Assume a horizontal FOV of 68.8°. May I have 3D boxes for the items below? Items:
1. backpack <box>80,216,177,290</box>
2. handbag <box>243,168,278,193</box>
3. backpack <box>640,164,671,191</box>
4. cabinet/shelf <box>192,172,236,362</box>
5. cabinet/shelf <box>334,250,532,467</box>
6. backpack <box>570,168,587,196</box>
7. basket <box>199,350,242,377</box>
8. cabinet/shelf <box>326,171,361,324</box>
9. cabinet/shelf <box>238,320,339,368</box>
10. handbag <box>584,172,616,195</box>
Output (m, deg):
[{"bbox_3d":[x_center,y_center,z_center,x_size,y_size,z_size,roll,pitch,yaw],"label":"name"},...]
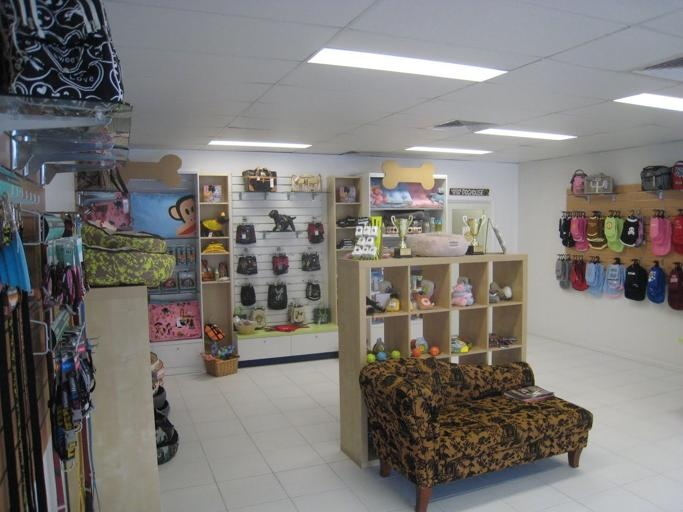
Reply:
[{"bbox_3d":[-1.194,-0.022,2.814,0.361,0.236,0.463,0,1,-37],"label":"backpack"},{"bbox_3d":[-1.201,-1.128,7.494,0.496,0.381,0.349,-1,1,-34],"label":"handbag"},{"bbox_3d":[4.407,-1.049,7.102,0.315,0.423,0.450,2,0,-25],"label":"backpack"},{"bbox_3d":[-1.900,0.085,7.555,0.417,2.596,0.351,-5,36,-17],"label":"cabinet/shelf"},{"bbox_3d":[0.835,0.938,4.485,1.852,1.801,0.491,-1,0,-27],"label":"cabinet/shelf"},{"bbox_3d":[3.878,-1.189,8.084,0.196,0.410,0.296,-2,5,-10],"label":"backpack"},{"bbox_3d":[-1.716,1.557,7.127,0.387,0.272,0.324,-3,4,-29],"label":"basket"},{"bbox_3d":[0.123,0.007,8.101,0.473,2.446,0.320,-1,8,-1],"label":"cabinet/shelf"},{"bbox_3d":[-0.770,1.342,7.593,1.617,0.540,0.495,-2,-2,-24],"label":"cabinet/shelf"},{"bbox_3d":[4.045,-1.092,7.780,0.341,0.272,0.353,1,0,17],"label":"handbag"}]
